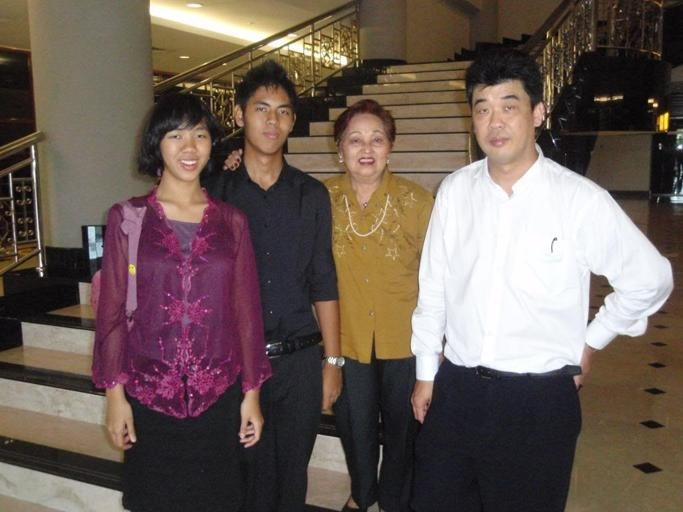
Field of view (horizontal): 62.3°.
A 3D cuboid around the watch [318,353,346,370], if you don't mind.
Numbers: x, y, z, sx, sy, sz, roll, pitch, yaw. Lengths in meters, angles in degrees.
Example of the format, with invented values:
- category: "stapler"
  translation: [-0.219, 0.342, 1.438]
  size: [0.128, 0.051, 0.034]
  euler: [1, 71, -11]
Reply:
- category: "watch"
  translation: [-0.043, 0.466, 2.493]
  size: [0.091, 0.054, 0.093]
  euler: [-6, -20, 30]

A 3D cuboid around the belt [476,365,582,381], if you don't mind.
- category: "belt"
  translation: [0.665, 0.414, 2.028]
  size: [0.379, 0.050, 0.051]
  euler: [1, 14, 6]

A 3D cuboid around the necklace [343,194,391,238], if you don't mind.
- category: "necklace"
  translation: [0.095, -0.154, 2.509]
  size: [0.149, 0.224, 0.040]
  euler: [-2, -15, 11]
